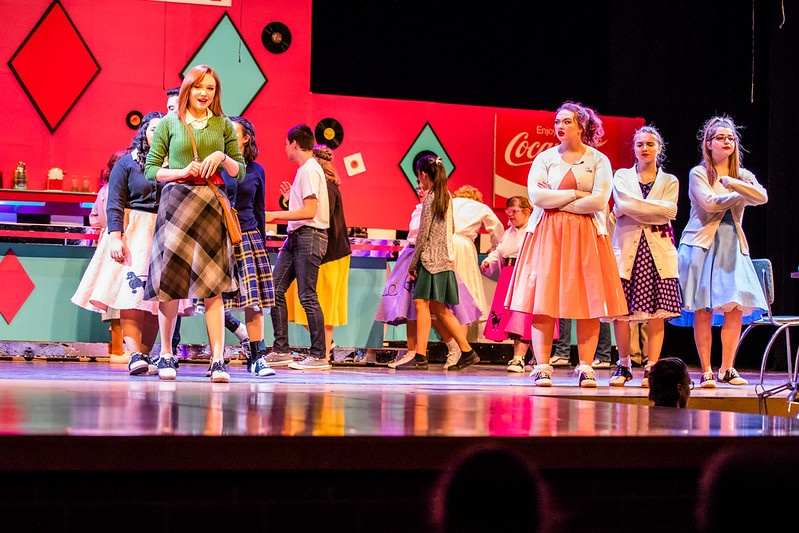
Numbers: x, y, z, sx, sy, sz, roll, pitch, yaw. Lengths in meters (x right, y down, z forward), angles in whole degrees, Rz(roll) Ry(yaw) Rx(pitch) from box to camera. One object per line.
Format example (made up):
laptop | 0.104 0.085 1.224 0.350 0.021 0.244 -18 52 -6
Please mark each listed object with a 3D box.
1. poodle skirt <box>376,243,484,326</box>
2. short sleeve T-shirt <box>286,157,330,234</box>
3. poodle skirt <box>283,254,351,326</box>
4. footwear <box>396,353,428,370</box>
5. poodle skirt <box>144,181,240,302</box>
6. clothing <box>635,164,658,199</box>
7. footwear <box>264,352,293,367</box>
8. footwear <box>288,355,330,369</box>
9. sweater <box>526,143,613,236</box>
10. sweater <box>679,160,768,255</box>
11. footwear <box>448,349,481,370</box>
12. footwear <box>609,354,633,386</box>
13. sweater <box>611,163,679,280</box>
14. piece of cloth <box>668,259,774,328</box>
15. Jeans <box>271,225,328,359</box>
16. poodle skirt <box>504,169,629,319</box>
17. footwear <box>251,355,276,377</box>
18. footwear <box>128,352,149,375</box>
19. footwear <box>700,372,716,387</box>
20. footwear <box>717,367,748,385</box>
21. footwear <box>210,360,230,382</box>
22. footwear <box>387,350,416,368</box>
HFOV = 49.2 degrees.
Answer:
poodle skirt | 0.264 0.300 7.524 0.926 0.903 0.656 2 -17 -3
short sleeve T-shirt | -0.690 -0.569 6.591 0.310 0.501 0.528 4 5 -10
poodle skirt | -0.613 0.243 7.525 0.654 0.842 0.545 2 -5 -15
footwear | 0.087 0.778 7.228 0.285 0.166 0.114 2 -5 8
poodle skirt | -1.143 -0.141 4.822 0.506 0.648 0.216 2 11 -10
clothing | 1.675 -0.548 5.927 0.094 0.111 0.122 0 -41 5
footwear | -0.937 0.710 6.780 0.266 0.112 0.098 3 -4 -8
footwear | -0.666 0.719 6.584 0.332 0.131 0.112 3 -6 -3
sweater | 1.076 -0.474 5.546 0.530 0.620 0.361 3 10 11
sweater | 2.240 -0.409 5.949 0.491 0.571 0.524 4 -5 -28
footwear | 0.545 0.763 7.172 0.317 0.137 0.110 -17 -6 29
footwear | 1.456 0.685 5.768 0.105 0.134 0.319 -3 -3 24
sweater | 1.664 -0.317 5.949 0.439 0.775 0.326 3 5 13
piece of cloth | 2.151 0.157 5.885 0.309 0.381 0.382 8 -11 -1
Jeans | -0.762 0.167 6.633 0.414 1.018 0.348 -4 -10 19
poodle skirt | 1.087 -0.168 5.572 0.745 0.949 0.545 4 5 22
footwear | -0.853 0.634 5.521 0.088 0.109 0.251 1 -8 -25
footwear | -1.562 0.576 5.230 0.076 0.091 0.195 2 -11 -26
footwear | 1.984 0.735 5.647 0.066 0.071 0.184 -2 -9 8
footwear | 2.239 0.752 5.967 0.093 0.103 0.245 4 -7 -27
footwear | -0.992 0.580 4.837 0.103 0.122 0.249 1 11 -13
footwear | -0.023 0.771 7.266 0.303 0.122 0.105 -13 -12 18
